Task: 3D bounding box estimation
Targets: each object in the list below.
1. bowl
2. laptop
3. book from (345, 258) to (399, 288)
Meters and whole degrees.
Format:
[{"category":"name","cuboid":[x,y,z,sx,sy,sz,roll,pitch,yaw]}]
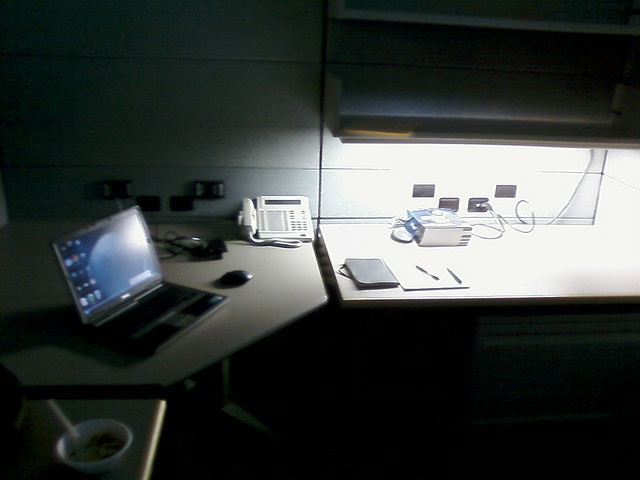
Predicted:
[{"category":"bowl","cuboid":[-0.676,0.612,1.601,0.231,0.057,0.168,4,26,2]},{"category":"laptop","cuboid":[-0.646,0.161,2.098,0.616,0.348,0.567,31,27,24]},{"category":"book","cuboid":[0.217,0.144,2.454,0.195,0.061,0.278,-5,20,-14]}]
